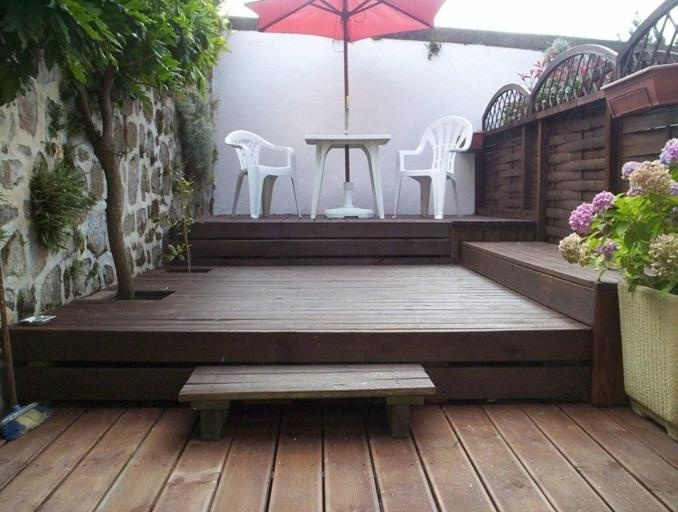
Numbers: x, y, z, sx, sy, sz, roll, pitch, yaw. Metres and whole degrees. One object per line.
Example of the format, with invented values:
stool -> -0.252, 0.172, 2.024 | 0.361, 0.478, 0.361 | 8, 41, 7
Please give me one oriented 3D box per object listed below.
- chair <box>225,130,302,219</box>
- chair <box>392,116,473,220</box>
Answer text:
chair -> -0.768, -0.823, 4.808 | 0.616, 0.928, 0.655 | 3, 8, 39
chair -> 0.904, -0.875, 4.792 | 0.627, 1.025, 0.742 | 3, 4, 14
